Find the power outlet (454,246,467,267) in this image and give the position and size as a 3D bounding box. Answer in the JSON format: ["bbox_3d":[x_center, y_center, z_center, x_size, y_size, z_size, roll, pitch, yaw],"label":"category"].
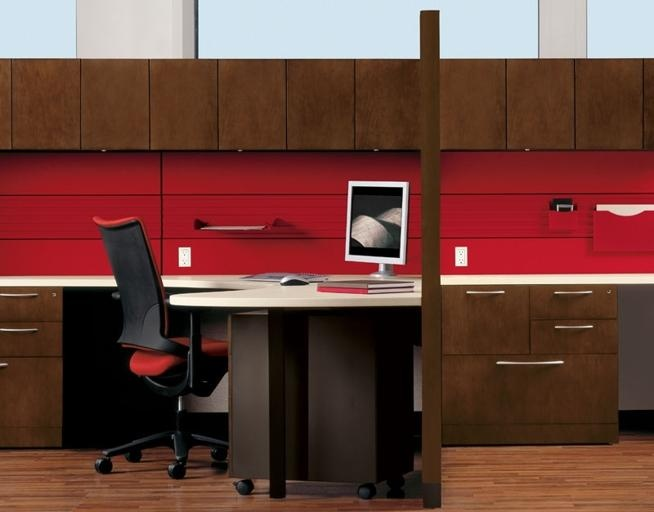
[{"bbox_3d":[0.892,-0.008,6.931,0.088,0.131,0.022,0,0,-3],"label":"power outlet"}]

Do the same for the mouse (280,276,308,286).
[{"bbox_3d":[-0.193,0.134,5.824,0.113,0.039,0.068,-1,2,-31],"label":"mouse"}]

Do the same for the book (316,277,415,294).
[{"bbox_3d":[0.194,0.155,5.374,0.509,0.081,0.210,0,14,1],"label":"book"}]

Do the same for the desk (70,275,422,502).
[{"bbox_3d":[-0.101,0.604,5.452,1.223,0.937,1.187,1,-4,-8],"label":"desk"}]
